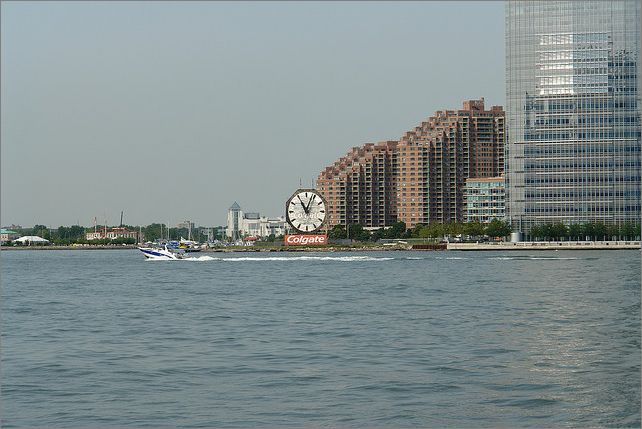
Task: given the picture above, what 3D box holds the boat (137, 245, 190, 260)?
[{"bbox_3d":[-40.647,10.033,338.411,13.920,4.174,4.200,5,-5,-2],"label":"boat"}]
